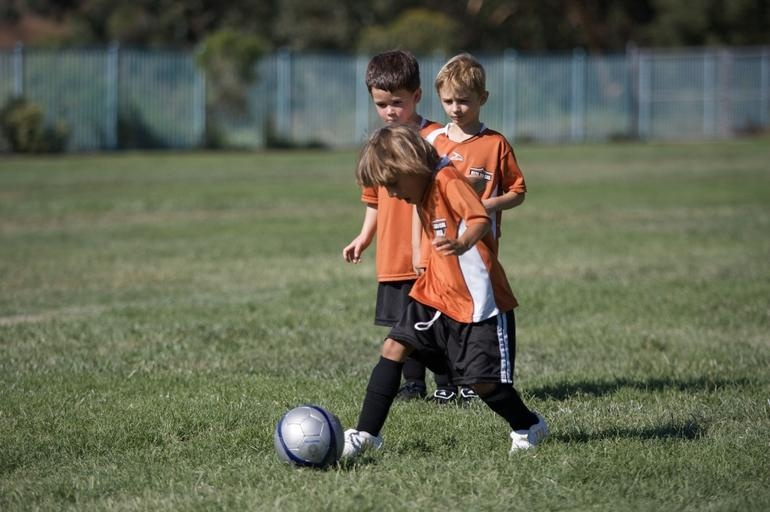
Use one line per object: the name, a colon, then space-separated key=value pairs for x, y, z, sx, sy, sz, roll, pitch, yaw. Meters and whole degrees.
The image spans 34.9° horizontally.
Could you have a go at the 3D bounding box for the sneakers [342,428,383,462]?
sneakers: x=-0.230 y=1.810 z=11.665 sx=0.424 sy=0.197 sz=0.178 roll=7 pitch=-7 yaw=-36

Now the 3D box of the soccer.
soccer: x=-0.762 y=1.778 z=11.867 sx=0.644 sy=0.735 sz=0.688 roll=-4 pitch=-6 yaw=1
